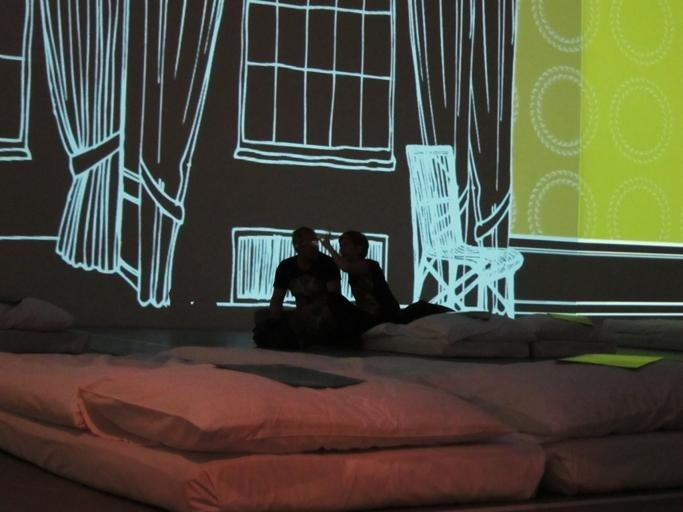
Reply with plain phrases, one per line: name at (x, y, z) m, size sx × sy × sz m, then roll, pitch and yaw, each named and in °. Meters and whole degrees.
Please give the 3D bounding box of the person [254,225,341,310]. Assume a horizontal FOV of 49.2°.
person at (-0.228, 0.122, 4.907) m, size 0.539 × 0.830 × 0.459 m, roll -2°, pitch -4°, yaw 2°
